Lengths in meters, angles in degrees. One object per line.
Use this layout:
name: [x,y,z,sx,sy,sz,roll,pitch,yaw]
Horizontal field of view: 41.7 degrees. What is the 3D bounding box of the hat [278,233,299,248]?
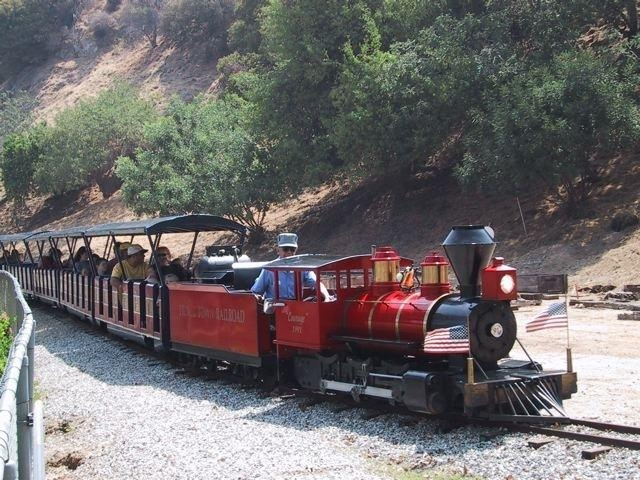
hat: [-0.864,-0.001,22.489,0.820,0.355,1.169,1,-2,-2]
